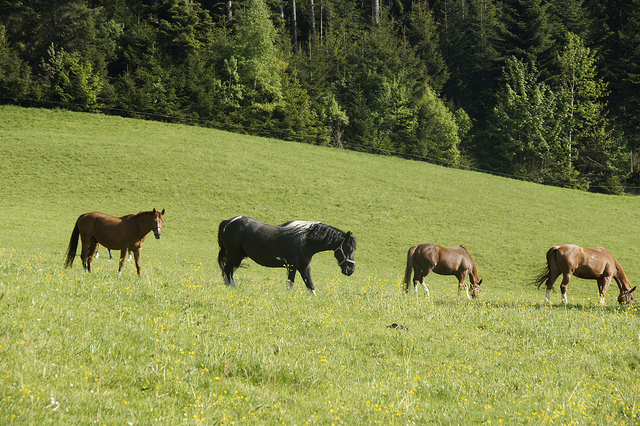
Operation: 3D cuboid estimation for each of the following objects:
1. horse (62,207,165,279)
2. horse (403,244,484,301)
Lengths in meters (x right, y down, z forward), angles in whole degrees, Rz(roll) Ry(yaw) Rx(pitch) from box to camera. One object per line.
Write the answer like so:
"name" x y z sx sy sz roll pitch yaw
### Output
"horse" -22.507 3.049 109.511 10.762 7.973 3.076 6 7 5
"horse" 13.573 6.579 113.164 8.102 5.637 1.908 6 7 -5
